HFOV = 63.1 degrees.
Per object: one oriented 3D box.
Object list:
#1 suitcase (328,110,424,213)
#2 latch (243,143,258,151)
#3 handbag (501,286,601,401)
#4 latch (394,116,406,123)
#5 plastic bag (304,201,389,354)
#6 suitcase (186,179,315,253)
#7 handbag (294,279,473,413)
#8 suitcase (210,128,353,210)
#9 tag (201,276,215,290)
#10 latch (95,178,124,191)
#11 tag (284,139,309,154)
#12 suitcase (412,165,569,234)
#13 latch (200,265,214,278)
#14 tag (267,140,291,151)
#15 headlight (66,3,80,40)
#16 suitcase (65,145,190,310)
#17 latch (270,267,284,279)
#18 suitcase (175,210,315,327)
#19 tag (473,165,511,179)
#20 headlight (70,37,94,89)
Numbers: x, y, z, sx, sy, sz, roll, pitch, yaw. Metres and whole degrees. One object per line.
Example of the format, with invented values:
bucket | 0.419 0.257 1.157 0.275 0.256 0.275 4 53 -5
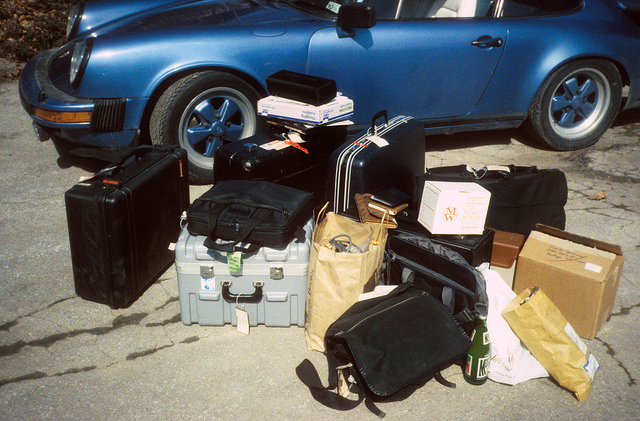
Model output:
suitcase | 0.524 -0.429 4.488 0.424 0.769 1.024 25 32 34
latch | -0.601 -0.542 4.375 0.069 0.025 0.094 8 18 22
handbag | 1.578 0.936 3.571 0.632 0.245 0.571 41 28 1
latch | 0.729 -0.837 4.783 0.028 0.036 0.142 30 39 32
plastic bag | 0.175 0.511 3.637 0.441 1.011 0.797 18 22 21
suitcase | -0.560 0.033 3.731 0.615 0.189 0.615 10 33 20
handbag | 0.423 0.935 3.544 1.064 0.669 0.661 -7 29 -25
suitcase | -0.278 -0.421 4.720 1.280 0.788 0.477 14 -14 -32
tag | -0.837 0.536 3.799 0.096 0.089 0.022 5 9 -1
latch | -1.574 -0.201 3.845 0.212 0.041 0.117 8 26 4
tag | -0.229 -0.556 4.521 0.240 0.032 0.079 33 65 -7
suitcase | 1.653 -0.136 4.926 1.403 0.530 0.919 1 5 2
latch | -0.847 0.442 3.814 0.090 0.087 0.085 -2 5 -12
tag | -0.375 -0.562 4.454 0.101 0.005 0.108 -22 42 -29
headlight | -2.590 -1.967 5.395 0.143 0.333 0.365 -6 28 -23
suitcase | -1.567 0.043 4.287 0.593 1.014 1.098 12 24 13
latch | -0.326 0.456 3.821 0.100 0.097 0.072 1 20 -1
suitcase | -0.572 0.284 4.005 0.962 0.605 0.762 0 26 0
tag | 1.480 -0.346 4.480 0.248 0.087 0.152 1 19 17
headlight | -2.202 -1.341 4.741 0.240 0.435 0.249 -5 28 -20
